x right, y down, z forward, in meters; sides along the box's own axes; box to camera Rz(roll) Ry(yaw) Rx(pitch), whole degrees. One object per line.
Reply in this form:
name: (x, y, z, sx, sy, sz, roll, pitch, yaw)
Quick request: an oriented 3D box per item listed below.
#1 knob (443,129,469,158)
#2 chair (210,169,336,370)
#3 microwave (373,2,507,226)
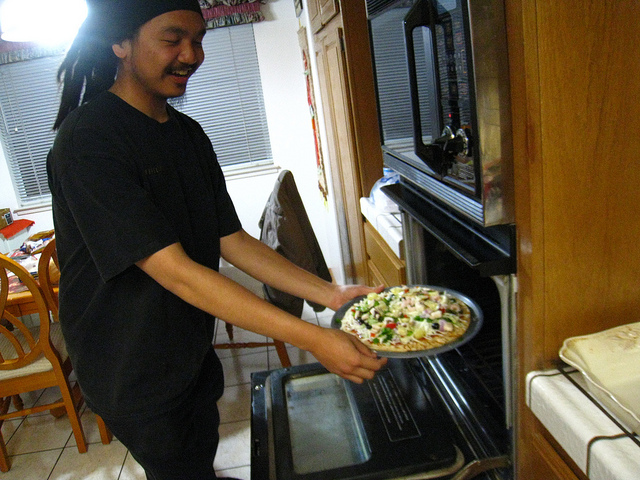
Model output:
knob: (0.289, -0.202, 1.037, 0.030, 0.065, 0.089, -10, 27, 2)
chair: (-0.428, 0.171, 2.978, 0.732, 1.148, 0.747, -5, 10, -19)
microwave: (0.273, -0.295, 1.082, 0.173, 0.349, 0.546, -2, 10, -7)
